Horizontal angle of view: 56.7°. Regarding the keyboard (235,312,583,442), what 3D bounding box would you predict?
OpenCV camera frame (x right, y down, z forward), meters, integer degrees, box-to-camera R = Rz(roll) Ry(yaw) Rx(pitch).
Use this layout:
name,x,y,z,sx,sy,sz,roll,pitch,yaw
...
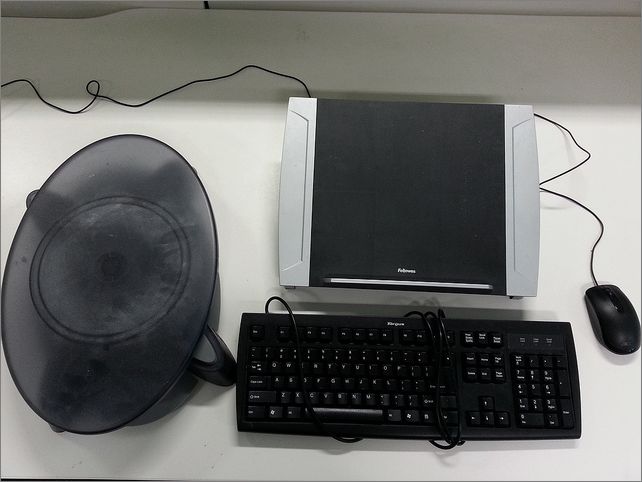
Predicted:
name,x,y,z,sx,sy,sz,roll,pitch,yaw
keyboard,0.155,0.243,1.070,0.616,0.258,0.114,-6,20,3
